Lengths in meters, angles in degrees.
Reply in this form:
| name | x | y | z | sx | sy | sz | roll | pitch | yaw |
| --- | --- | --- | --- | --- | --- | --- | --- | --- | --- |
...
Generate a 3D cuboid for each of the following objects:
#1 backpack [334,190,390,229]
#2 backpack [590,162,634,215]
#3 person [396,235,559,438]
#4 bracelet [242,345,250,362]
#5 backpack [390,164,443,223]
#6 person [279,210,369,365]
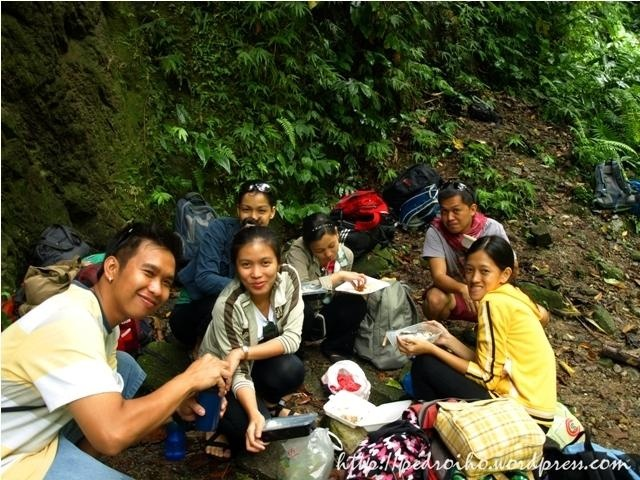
| name | x | y | z | sx | sy | sz | roll | pitch | yaw |
| --- | --- | --- | --- | --- | --- | --- | --- | --- | --- |
| backpack | 0.556 | -0.327 | 6.111 | 0.735 | 0.388 | 0.922 | 10 | -12 | 9 |
| backpack | 4.150 | -0.735 | 7.109 | 0.573 | 0.762 | 0.327 | 1 | -16 | 2 |
| person | 1.270 | 0.940 | 4.089 | 1.285 | 1.761 | 0.816 | 3 | -12 | 27 |
| bracelet | -0.530 | 0.834 | 3.583 | 0.051 | 0.089 | 0.088 | 2 | 17 | -5 |
| backpack | 1.250 | -0.575 | 6.402 | 0.607 | 0.439 | 0.592 | -14 | 40 | 46 |
| person | 0.063 | 0.441 | 4.704 | 0.821 | 1.326 | 0.872 | -22 | 29 | -36 |
